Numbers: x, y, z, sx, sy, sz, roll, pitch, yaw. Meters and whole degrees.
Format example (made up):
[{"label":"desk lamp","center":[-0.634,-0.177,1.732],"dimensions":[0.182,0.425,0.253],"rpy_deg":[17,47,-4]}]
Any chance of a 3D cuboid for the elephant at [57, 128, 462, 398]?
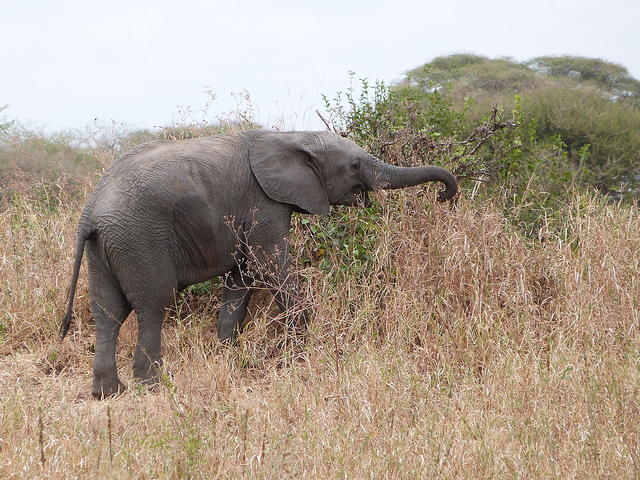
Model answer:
[{"label":"elephant","center":[-0.620,0.027,6.914],"dimensions":[3.784,2.330,1.327],"rpy_deg":[-10,16,-17]}]
